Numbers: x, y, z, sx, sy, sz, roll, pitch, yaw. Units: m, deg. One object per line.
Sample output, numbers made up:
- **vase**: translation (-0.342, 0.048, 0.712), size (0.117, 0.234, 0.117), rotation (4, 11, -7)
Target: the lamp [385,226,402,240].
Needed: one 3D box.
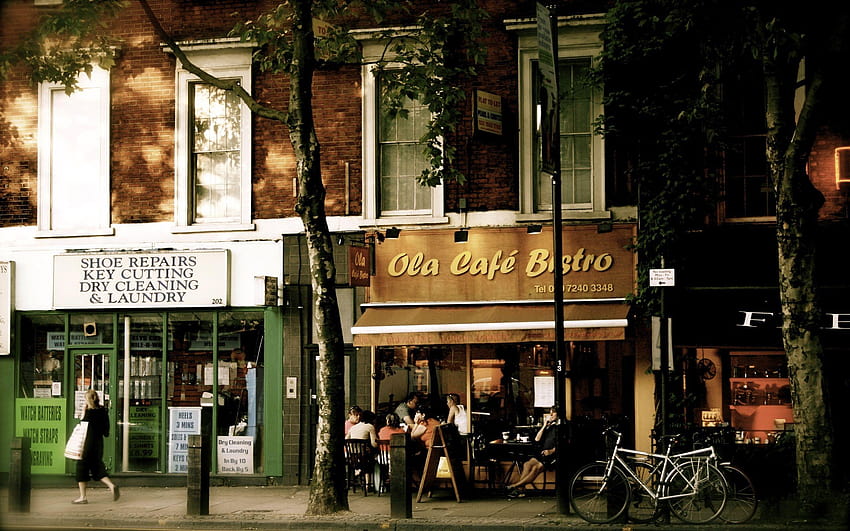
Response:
- **lamp**: translation (-0.796, -0.836, 41.354), size (0.358, 0.279, 0.495), rotation (-1, -8, 2)

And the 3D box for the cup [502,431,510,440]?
- **cup**: translation (1.957, 4.086, 40.205), size (0.161, 0.167, 0.162), rotation (1, 4, 0)

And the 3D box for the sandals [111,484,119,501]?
- **sandals**: translation (-7.429, 5.434, 39.776), size (0.175, 0.438, 0.161), rotation (23, 40, 25)

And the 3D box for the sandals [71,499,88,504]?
- **sandals**: translation (-8.237, 5.568, 39.502), size (0.245, 0.087, 0.145), rotation (3, -6, 0)

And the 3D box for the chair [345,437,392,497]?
- **chair**: translation (-1.412, 4.766, 40.319), size (1.265, 1.753, 1.232), rotation (0, 4, 12)

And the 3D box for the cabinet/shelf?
- **cabinet/shelf**: translation (8.173, 3.008, 40.427), size (1.494, 1.851, 0.366), rotation (-2, -8, 10)

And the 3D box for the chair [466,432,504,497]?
- **chair**: translation (1.427, 4.718, 40.366), size (1.253, 1.905, 1.131), rotation (-2, -2, 21)

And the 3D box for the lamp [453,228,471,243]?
- **lamp**: translation (0.915, -0.780, 41.154), size (0.341, 0.315, 0.337), rotation (1, -12, -2)

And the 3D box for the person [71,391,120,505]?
- **person**: translation (-8.008, 4.267, 39.940), size (1.008, 2.699, 1.353), rotation (-1, 1, -11)

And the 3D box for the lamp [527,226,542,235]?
- **lamp**: translation (2.711, -0.901, 40.954), size (0.354, 0.180, 0.401), rotation (0, -8, 0)
